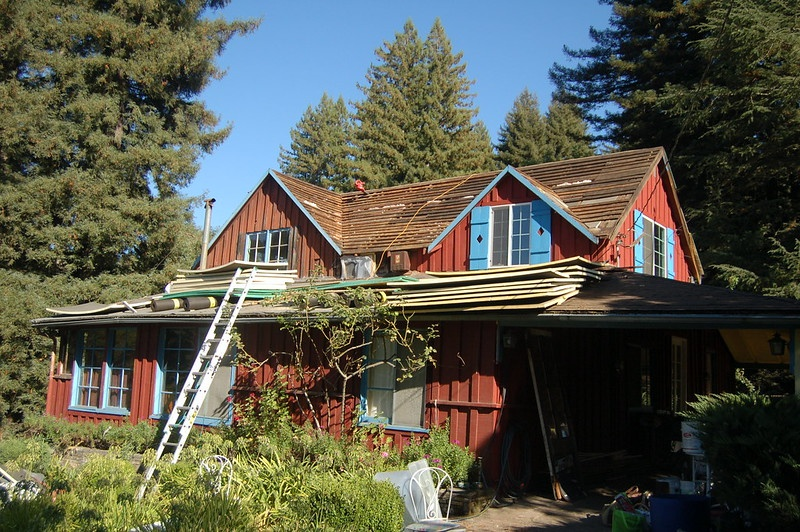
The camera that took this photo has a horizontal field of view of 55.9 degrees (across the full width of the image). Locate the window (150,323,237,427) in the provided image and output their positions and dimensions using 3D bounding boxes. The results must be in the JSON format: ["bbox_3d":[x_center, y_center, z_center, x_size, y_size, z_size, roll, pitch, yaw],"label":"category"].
[{"bbox_3d":[-5.938,3.259,21.893,2.915,3.418,0.244,-2,-4,24],"label":"window"}]

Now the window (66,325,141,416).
[{"bbox_3d":[-9.667,3.490,24.723,2.465,2.945,0.208,-9,-19,30],"label":"window"}]
